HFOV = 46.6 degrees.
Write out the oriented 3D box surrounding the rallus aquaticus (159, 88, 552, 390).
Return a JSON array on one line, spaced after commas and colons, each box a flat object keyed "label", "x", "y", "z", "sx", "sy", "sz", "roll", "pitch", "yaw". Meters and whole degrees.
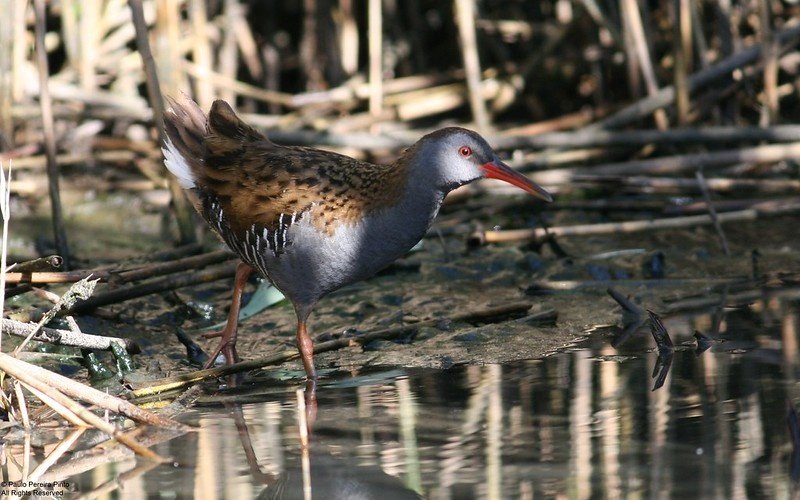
[{"label": "rallus aquaticus", "x": -0.443, "y": -0.137, "z": 5.244, "sx": 1.932, "sy": 1.739, "sz": 0.500, "roll": -5, "pitch": -16, "yaw": 20}]
